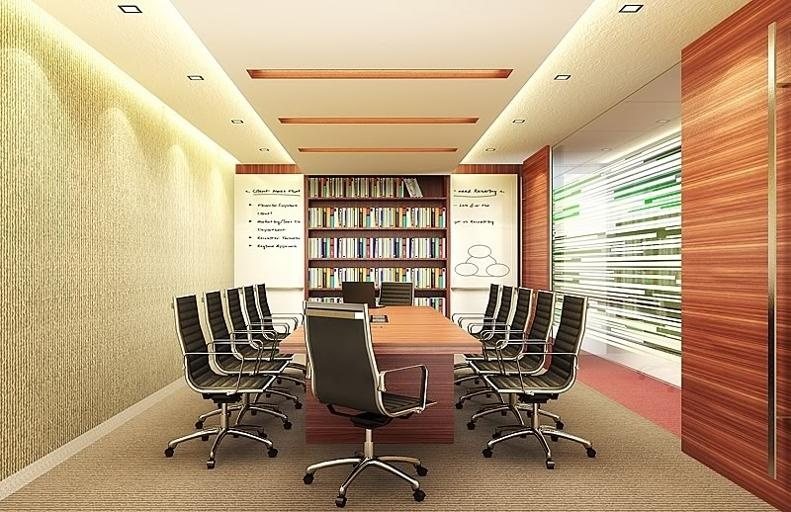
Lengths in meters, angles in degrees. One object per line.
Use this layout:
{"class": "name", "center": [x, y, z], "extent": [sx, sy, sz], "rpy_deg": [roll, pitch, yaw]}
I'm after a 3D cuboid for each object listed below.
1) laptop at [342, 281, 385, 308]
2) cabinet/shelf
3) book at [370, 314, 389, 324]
{"class": "laptop", "center": [-0.462, 0.580, 7.683], "extent": [0.679, 0.286, 0.430], "rpy_deg": [0, -4, 15]}
{"class": "cabinet/shelf", "center": [-0.310, -0.190, 8.881], "extent": [4.256, 2.535, 1.113], "rpy_deg": [0, 4, -1]}
{"class": "book", "center": [-0.182, 0.752, 5.951], "extent": [0.254, 0.050, 0.282], "rpy_deg": [0, -3, 1]}
